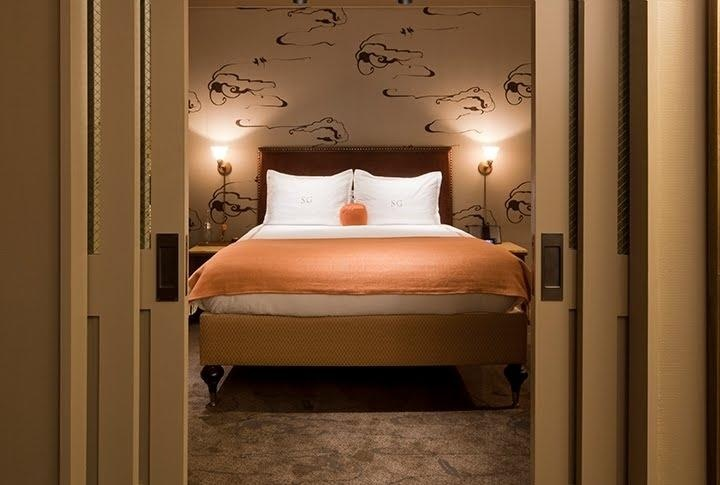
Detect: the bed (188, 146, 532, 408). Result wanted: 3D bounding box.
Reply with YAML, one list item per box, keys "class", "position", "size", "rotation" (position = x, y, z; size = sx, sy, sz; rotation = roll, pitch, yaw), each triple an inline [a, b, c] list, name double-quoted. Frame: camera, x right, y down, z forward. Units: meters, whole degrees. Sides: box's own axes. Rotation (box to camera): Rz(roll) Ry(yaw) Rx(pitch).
- class: "bed"
  position: [0.010, 0.001, 4.574]
  size: [1.643, 1.323, 2.514]
  rotation: [0, 5, -3]

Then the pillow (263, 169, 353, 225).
- class: "pillow"
  position: [-0.372, -0.316, 5.160]
  size: [0.418, 0.298, 0.088]
  rotation: [0, -28, -1]
